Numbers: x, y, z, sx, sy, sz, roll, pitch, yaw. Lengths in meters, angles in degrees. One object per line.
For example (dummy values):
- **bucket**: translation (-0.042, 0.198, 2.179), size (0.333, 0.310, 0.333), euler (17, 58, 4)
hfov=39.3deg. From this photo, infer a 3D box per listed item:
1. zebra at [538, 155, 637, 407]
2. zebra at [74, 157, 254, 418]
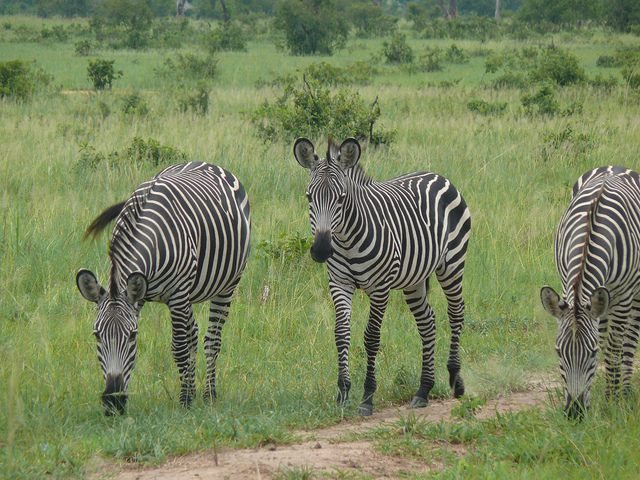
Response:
- **zebra**: translation (3.888, 0.656, 12.581), size (0.996, 3.301, 1.982), euler (1, 3, 37)
- **zebra**: translation (-2.111, 0.641, 12.568), size (2.387, 3.447, 0.773), euler (-3, 3, -39)
